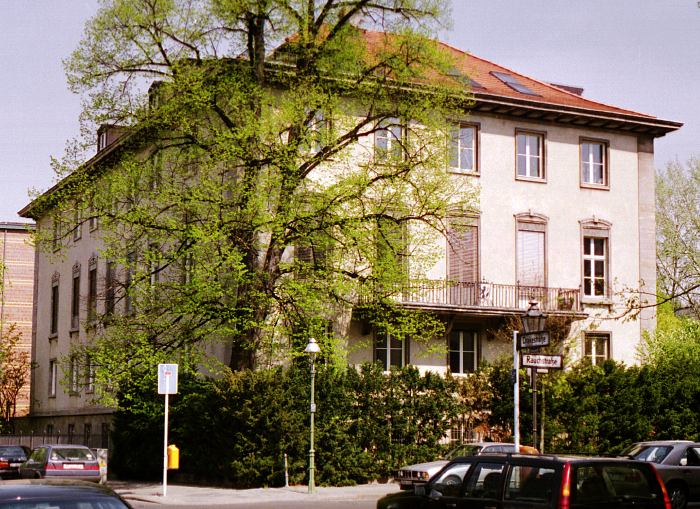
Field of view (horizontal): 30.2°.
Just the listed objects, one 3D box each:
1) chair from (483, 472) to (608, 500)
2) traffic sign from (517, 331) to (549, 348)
[{"bbox_3d":[4.582,5.512,30.805,2.124,0.782,1.086,1,-3,24],"label":"chair"},{"bbox_3d":[5.556,2.586,38.749,0.380,0.525,1.483,6,-6,-21],"label":"traffic sign"}]
